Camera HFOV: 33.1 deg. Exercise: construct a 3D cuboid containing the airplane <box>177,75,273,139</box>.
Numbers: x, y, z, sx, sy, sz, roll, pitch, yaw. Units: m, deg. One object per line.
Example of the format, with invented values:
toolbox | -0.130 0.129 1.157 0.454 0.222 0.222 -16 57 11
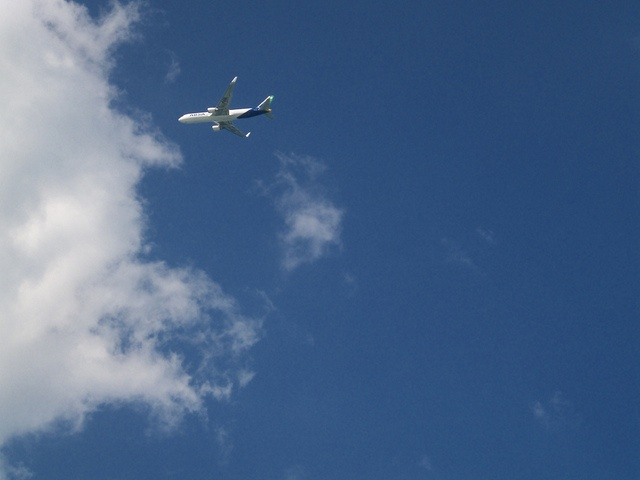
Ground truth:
airplane | -20.314 -27.701 232.451 20.115 17.860 4.803 -3 69 7
